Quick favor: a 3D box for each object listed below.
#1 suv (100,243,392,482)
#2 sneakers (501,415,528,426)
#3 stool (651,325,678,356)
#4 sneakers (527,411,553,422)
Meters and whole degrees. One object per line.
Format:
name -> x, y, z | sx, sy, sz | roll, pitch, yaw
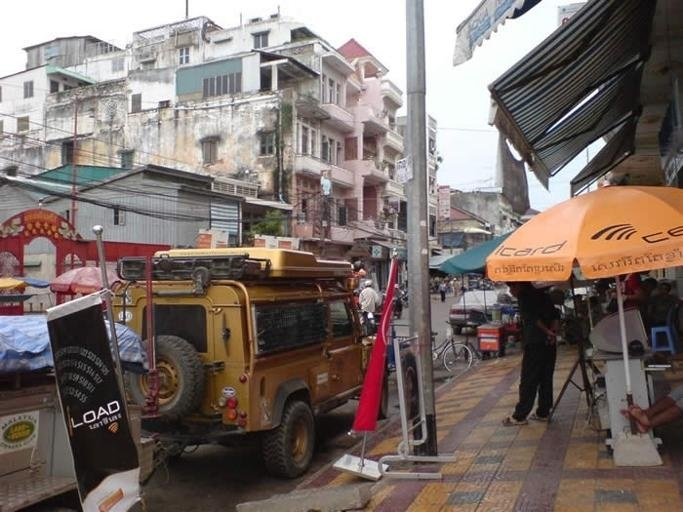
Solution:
suv -> -1.108, 1.479, 11.295 | 2.704, 3.048, 5.368 | 0, 2, 27
sneakers -> 2.435, 2.328, 9.842 | 0.256, 0.108, 0.160 | 2, -5, 15
stool -> 4.933, 1.304, 10.777 | 0.422, 0.541, 0.561 | -5, -5, 29
sneakers -> 2.807, 2.252, 9.892 | 0.297, 0.144, 0.124 | 4, -3, 23
